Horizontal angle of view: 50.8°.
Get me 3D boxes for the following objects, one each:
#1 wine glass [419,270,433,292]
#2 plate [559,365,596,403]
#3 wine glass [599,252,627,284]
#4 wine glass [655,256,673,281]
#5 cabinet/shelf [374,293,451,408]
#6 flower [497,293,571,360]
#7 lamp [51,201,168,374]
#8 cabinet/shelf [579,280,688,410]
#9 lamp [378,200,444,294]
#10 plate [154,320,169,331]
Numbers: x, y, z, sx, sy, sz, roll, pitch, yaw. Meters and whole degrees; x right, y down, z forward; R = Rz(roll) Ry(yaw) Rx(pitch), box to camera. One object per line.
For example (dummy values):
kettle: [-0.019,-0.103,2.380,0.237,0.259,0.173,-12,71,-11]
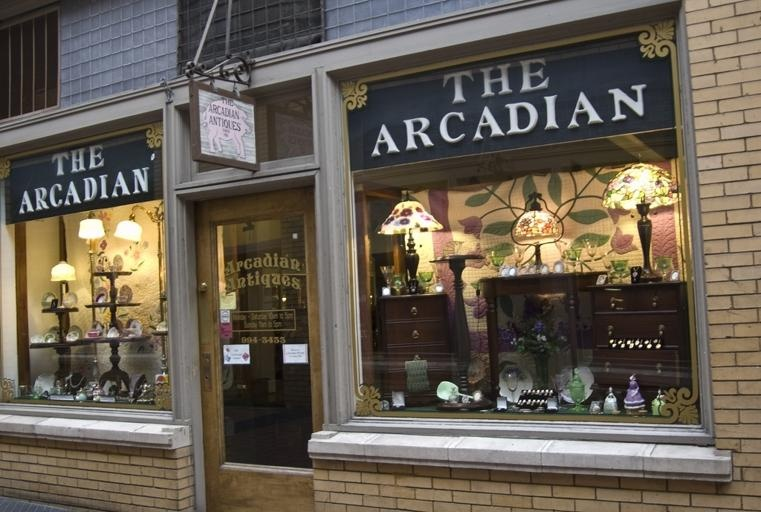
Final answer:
wine glass: [0.418,0.232,7.405,0.156,0.208,0.158,0,-6,4]
plate: [1.672,1.098,6.860,0.314,0.291,0.287,-7,-4,41]
wine glass: [1.983,0.096,6.829,0.230,0.328,0.248,1,-9,-6]
wine glass: [2.340,0.095,6.662,0.171,0.221,0.172,-2,-11,9]
cabinet/shelf: [0.313,0.908,7.345,0.939,1.229,0.687,-3,-10,8]
flower: [1.327,0.615,7.048,0.478,0.440,0.538,0,-2,-2]
lamp: [-2.908,0.337,8.779,2.019,1.841,0.669,1,0,30]
cabinet/shelf: [2.139,0.769,6.708,0.997,1.318,0.751,-4,-9,27]
lamp: [0.211,-0.126,7.764,0.820,1.081,0.762,-2,-2,1]
plate: [-2.299,0.747,8.467,0.105,0.143,0.052,-1,-32,9]
